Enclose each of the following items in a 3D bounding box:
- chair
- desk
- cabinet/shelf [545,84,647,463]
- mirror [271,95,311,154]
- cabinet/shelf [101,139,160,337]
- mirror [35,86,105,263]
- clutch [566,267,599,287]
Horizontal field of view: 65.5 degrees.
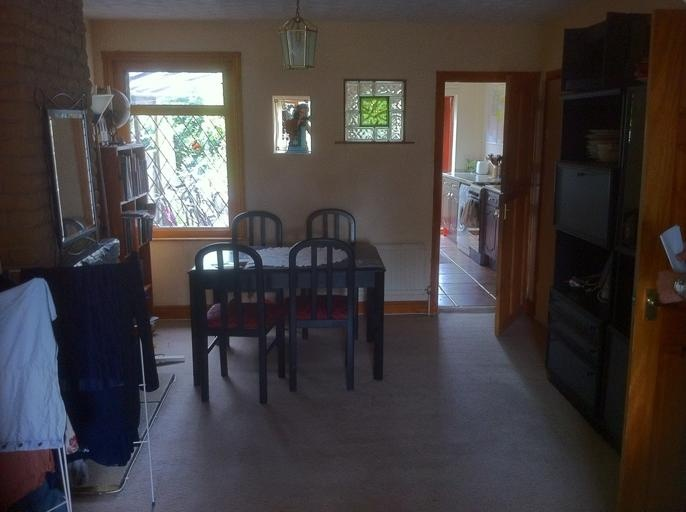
[{"bbox_3d":[-0.485,0.268,4.575,1.075,1.232,1.611,0,19,-1],"label":"chair"},{"bbox_3d":[-0.394,0.563,4.430,1.484,1.054,0.905,-1,6,-5],"label":"desk"},{"bbox_3d":[1.691,-0.013,3.693,0.466,2.216,1.254,3,13,21],"label":"cabinet/shelf"},{"bbox_3d":[-0.520,-1.530,5.401,0.383,0.557,0.763,-4,-31,-5],"label":"mirror"},{"bbox_3d":[-1.849,-0.090,4.769,0.296,1.793,0.901,-4,12,-11],"label":"cabinet/shelf"},{"bbox_3d":[-1.724,-0.530,3.418,0.152,1.042,0.673,-4,12,-11],"label":"mirror"},{"bbox_3d":[1.805,0.185,3.959,0.211,0.073,0.120,-26,28,-24],"label":"clutch"}]
